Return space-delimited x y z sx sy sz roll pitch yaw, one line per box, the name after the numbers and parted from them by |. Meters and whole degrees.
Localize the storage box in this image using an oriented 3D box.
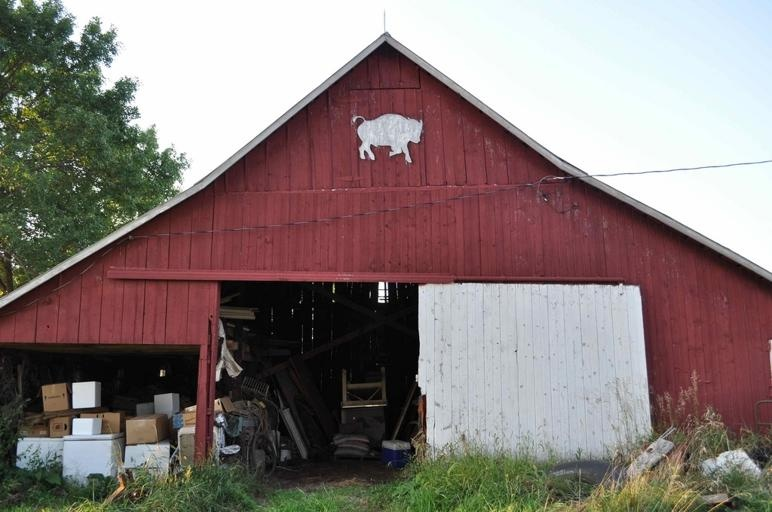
-5.281 3.440 14.500 3.779 1.904 0.865 -2 -14 3 | storage box
